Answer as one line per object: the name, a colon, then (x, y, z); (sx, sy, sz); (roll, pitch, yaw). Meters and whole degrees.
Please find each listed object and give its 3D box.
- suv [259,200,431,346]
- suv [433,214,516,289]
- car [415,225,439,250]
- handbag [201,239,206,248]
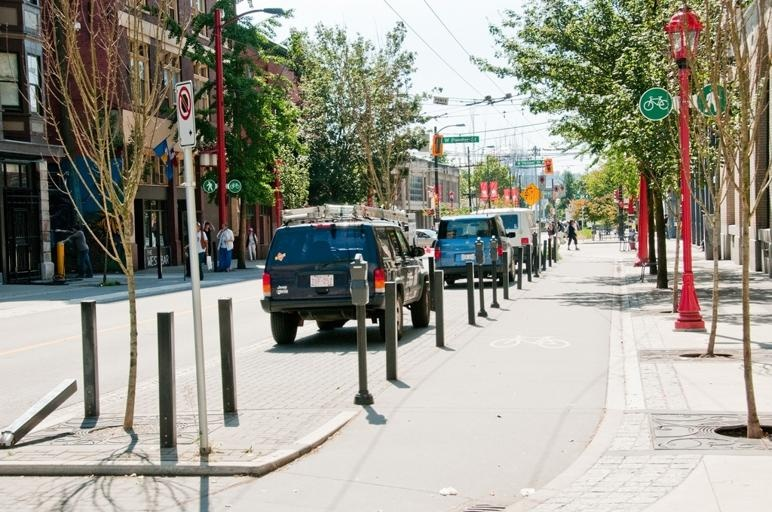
suv: (-0.556, 0.316, 16.769); (1.867, 1.980, 3.480); (-2, 3, 15)
suv: (2.183, -0.301, 25.302); (1.366, 1.289, 2.531); (-2, 4, 16)
car: (2.733, -1.286, 60.177); (1.089, 0.956, 2.399); (5, 10, 26)
handbag: (-7.316, -0.471, 35.546); (0.202, 0.390, 0.389); (-3, 3, -5)
